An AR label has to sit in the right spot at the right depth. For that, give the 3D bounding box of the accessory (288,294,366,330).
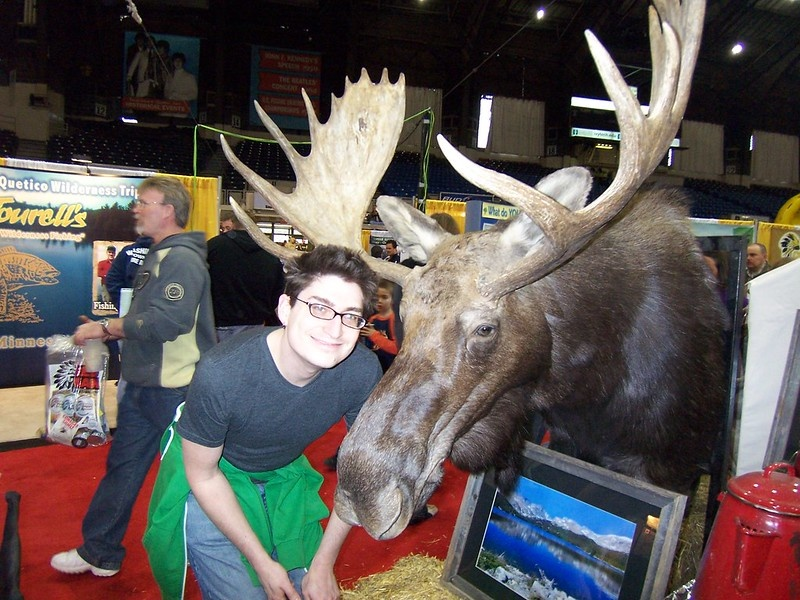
[{"bbox_3d":[-0.331,0.068,2.857,0.345,0.142,0.109,0,10,-11],"label":"accessory"}]

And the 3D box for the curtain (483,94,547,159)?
[{"bbox_3d":[4.727,-7.372,26.064,2.364,2.308,0.257,9,4,-19],"label":"curtain"}]

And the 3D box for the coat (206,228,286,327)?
[{"bbox_3d":[-1.397,-0.186,5.453,0.764,0.852,0.439,-2,12,-10],"label":"coat"}]
